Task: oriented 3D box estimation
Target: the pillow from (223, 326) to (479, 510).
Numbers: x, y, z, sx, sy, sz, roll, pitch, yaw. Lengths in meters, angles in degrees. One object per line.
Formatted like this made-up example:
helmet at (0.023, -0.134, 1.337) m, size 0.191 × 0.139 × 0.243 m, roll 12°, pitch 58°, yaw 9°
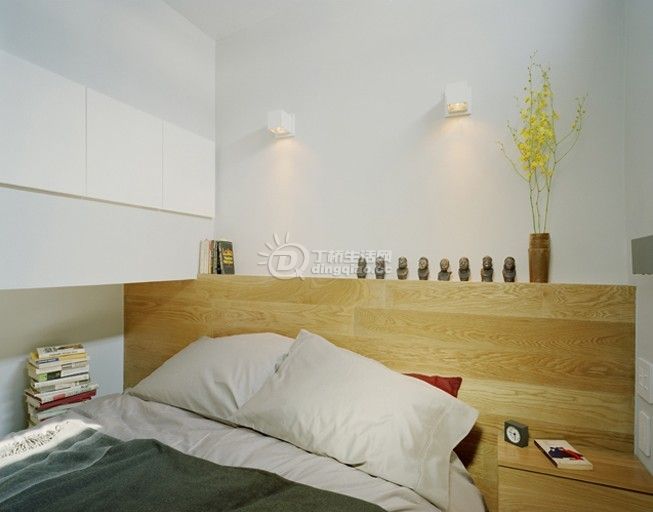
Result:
pillow at (0.157, 0.765, 2.290) m, size 1.054 × 0.472 × 0.538 m, roll 6°, pitch 10°, yaw 28°

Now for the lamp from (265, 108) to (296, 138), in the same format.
lamp at (-0.338, -0.909, 3.110) m, size 0.231 × 0.175 × 0.152 m, roll 5°, pitch 9°, yaw 20°

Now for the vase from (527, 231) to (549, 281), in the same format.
vase at (1.143, 0.001, 2.478) m, size 0.107 × 0.259 × 0.099 m, roll 5°, pitch 9°, yaw 20°

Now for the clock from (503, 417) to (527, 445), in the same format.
clock at (0.933, 0.877, 2.276) m, size 0.049 × 0.103 × 0.098 m, roll 7°, pitch -7°, yaw -27°

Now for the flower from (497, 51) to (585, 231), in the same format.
flower at (1.192, -0.635, 2.567) m, size 0.348 × 0.976 × 0.241 m, roll -1°, pitch 9°, yaw -17°

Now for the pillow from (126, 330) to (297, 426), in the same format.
pillow at (-0.597, 0.648, 2.610) m, size 0.526 × 0.179 × 0.603 m, roll 3°, pitch 24°, yaw 34°

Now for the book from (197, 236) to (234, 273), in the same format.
book at (-0.771, 0.007, 3.208) m, size 0.225 × 0.317 × 0.232 m, roll -2°, pitch -6°, yaw 27°
